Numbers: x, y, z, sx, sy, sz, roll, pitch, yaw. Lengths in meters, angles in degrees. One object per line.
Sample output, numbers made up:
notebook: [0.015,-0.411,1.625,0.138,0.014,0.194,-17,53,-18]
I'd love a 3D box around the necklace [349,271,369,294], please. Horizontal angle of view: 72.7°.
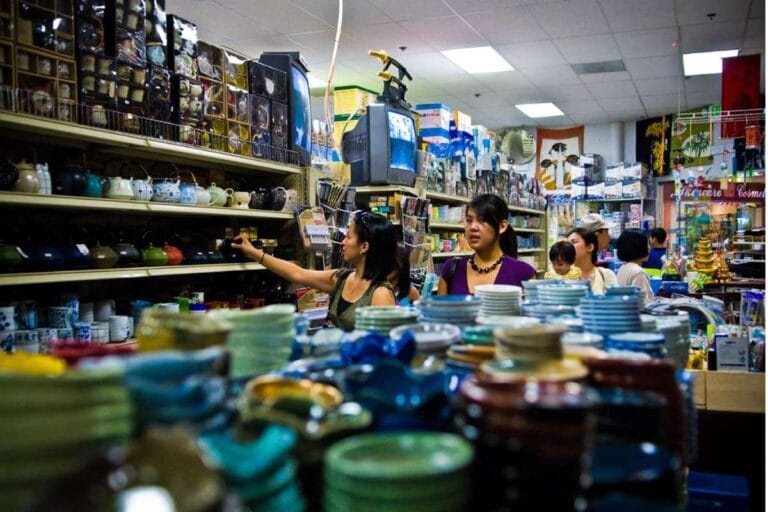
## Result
necklace: [-0.158,0.166,3.241,0.040,0.126,0.133,15,17,-40]

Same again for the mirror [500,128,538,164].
mirror: [2.685,-2.189,10.367,0.563,0.751,1.109,-2,2,10]

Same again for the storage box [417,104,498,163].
storage box: [0.904,-1.510,6.516,0.368,0.729,1.486,-1,3,37]

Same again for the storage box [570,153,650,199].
storage box: [4.324,-1.604,10.267,0.987,1.037,1.508,-2,2,-5]
